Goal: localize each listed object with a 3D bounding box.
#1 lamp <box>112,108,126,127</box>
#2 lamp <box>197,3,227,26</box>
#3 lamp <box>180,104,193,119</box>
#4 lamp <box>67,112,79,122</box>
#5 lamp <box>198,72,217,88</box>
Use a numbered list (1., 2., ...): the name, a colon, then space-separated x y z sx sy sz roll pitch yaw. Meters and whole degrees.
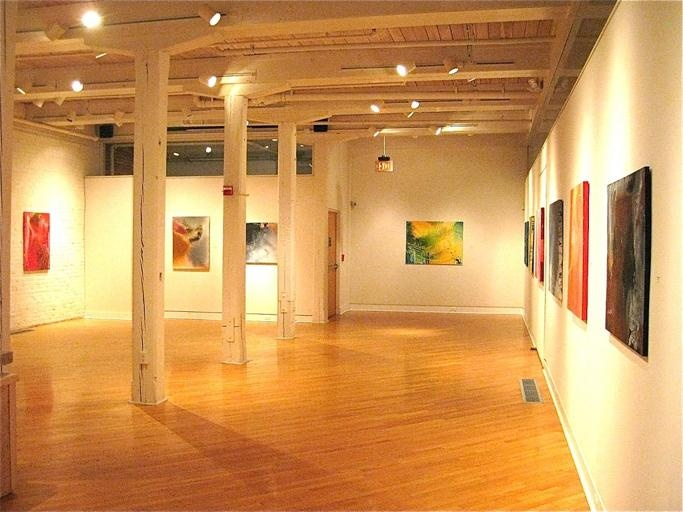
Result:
1. lamp: -4.646 -2.922 10.902 0.331 0.327 0.111 5 34 -7
2. lamp: -1.505 -2.798 5.947 0.310 0.255 0.233 0 0 5
3. lamp: -3.032 -2.846 10.173 0.166 0.205 0.230 -1 -16 -4
4. lamp: -5.719 -2.955 10.986 0.198 0.208 0.217 21 30 -6
5. lamp: -2.064 -2.749 8.050 0.250 0.233 0.359 -8 21 -42
